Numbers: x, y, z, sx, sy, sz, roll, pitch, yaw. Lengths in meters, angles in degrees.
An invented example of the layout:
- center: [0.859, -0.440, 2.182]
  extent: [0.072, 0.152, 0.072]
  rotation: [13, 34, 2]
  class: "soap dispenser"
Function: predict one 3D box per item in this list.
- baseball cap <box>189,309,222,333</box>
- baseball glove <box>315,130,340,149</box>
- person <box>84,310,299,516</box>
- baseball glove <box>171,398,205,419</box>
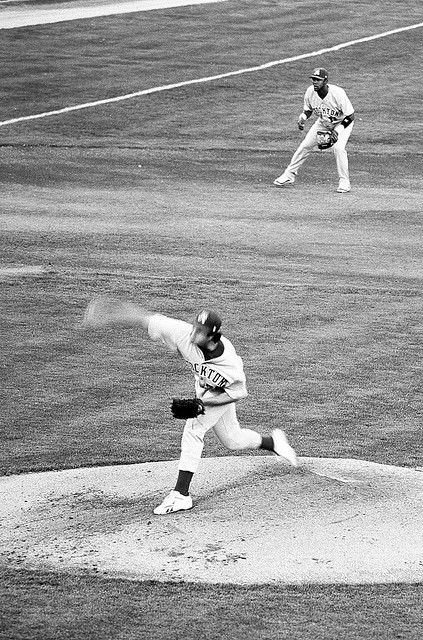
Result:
- center: [-0.036, 0.024, 9.708]
  extent: [0.170, 0.106, 0.124]
  rotation: [25, 14, -27]
  class: "baseball cap"
- center: [1.513, -2.363, 19.123]
  extent: [0.184, 0.220, 0.274]
  rotation: [0, -9, 17]
  class: "baseball glove"
- center: [-0.096, 0.595, 10.093]
  extent: [1.486, 1.429, 0.725]
  rotation: [1, 26, -13]
  class: "person"
- center: [-0.136, 0.615, 9.853]
  extent: [0.288, 0.146, 0.126]
  rotation: [-7, 11, -35]
  class: "baseball glove"
